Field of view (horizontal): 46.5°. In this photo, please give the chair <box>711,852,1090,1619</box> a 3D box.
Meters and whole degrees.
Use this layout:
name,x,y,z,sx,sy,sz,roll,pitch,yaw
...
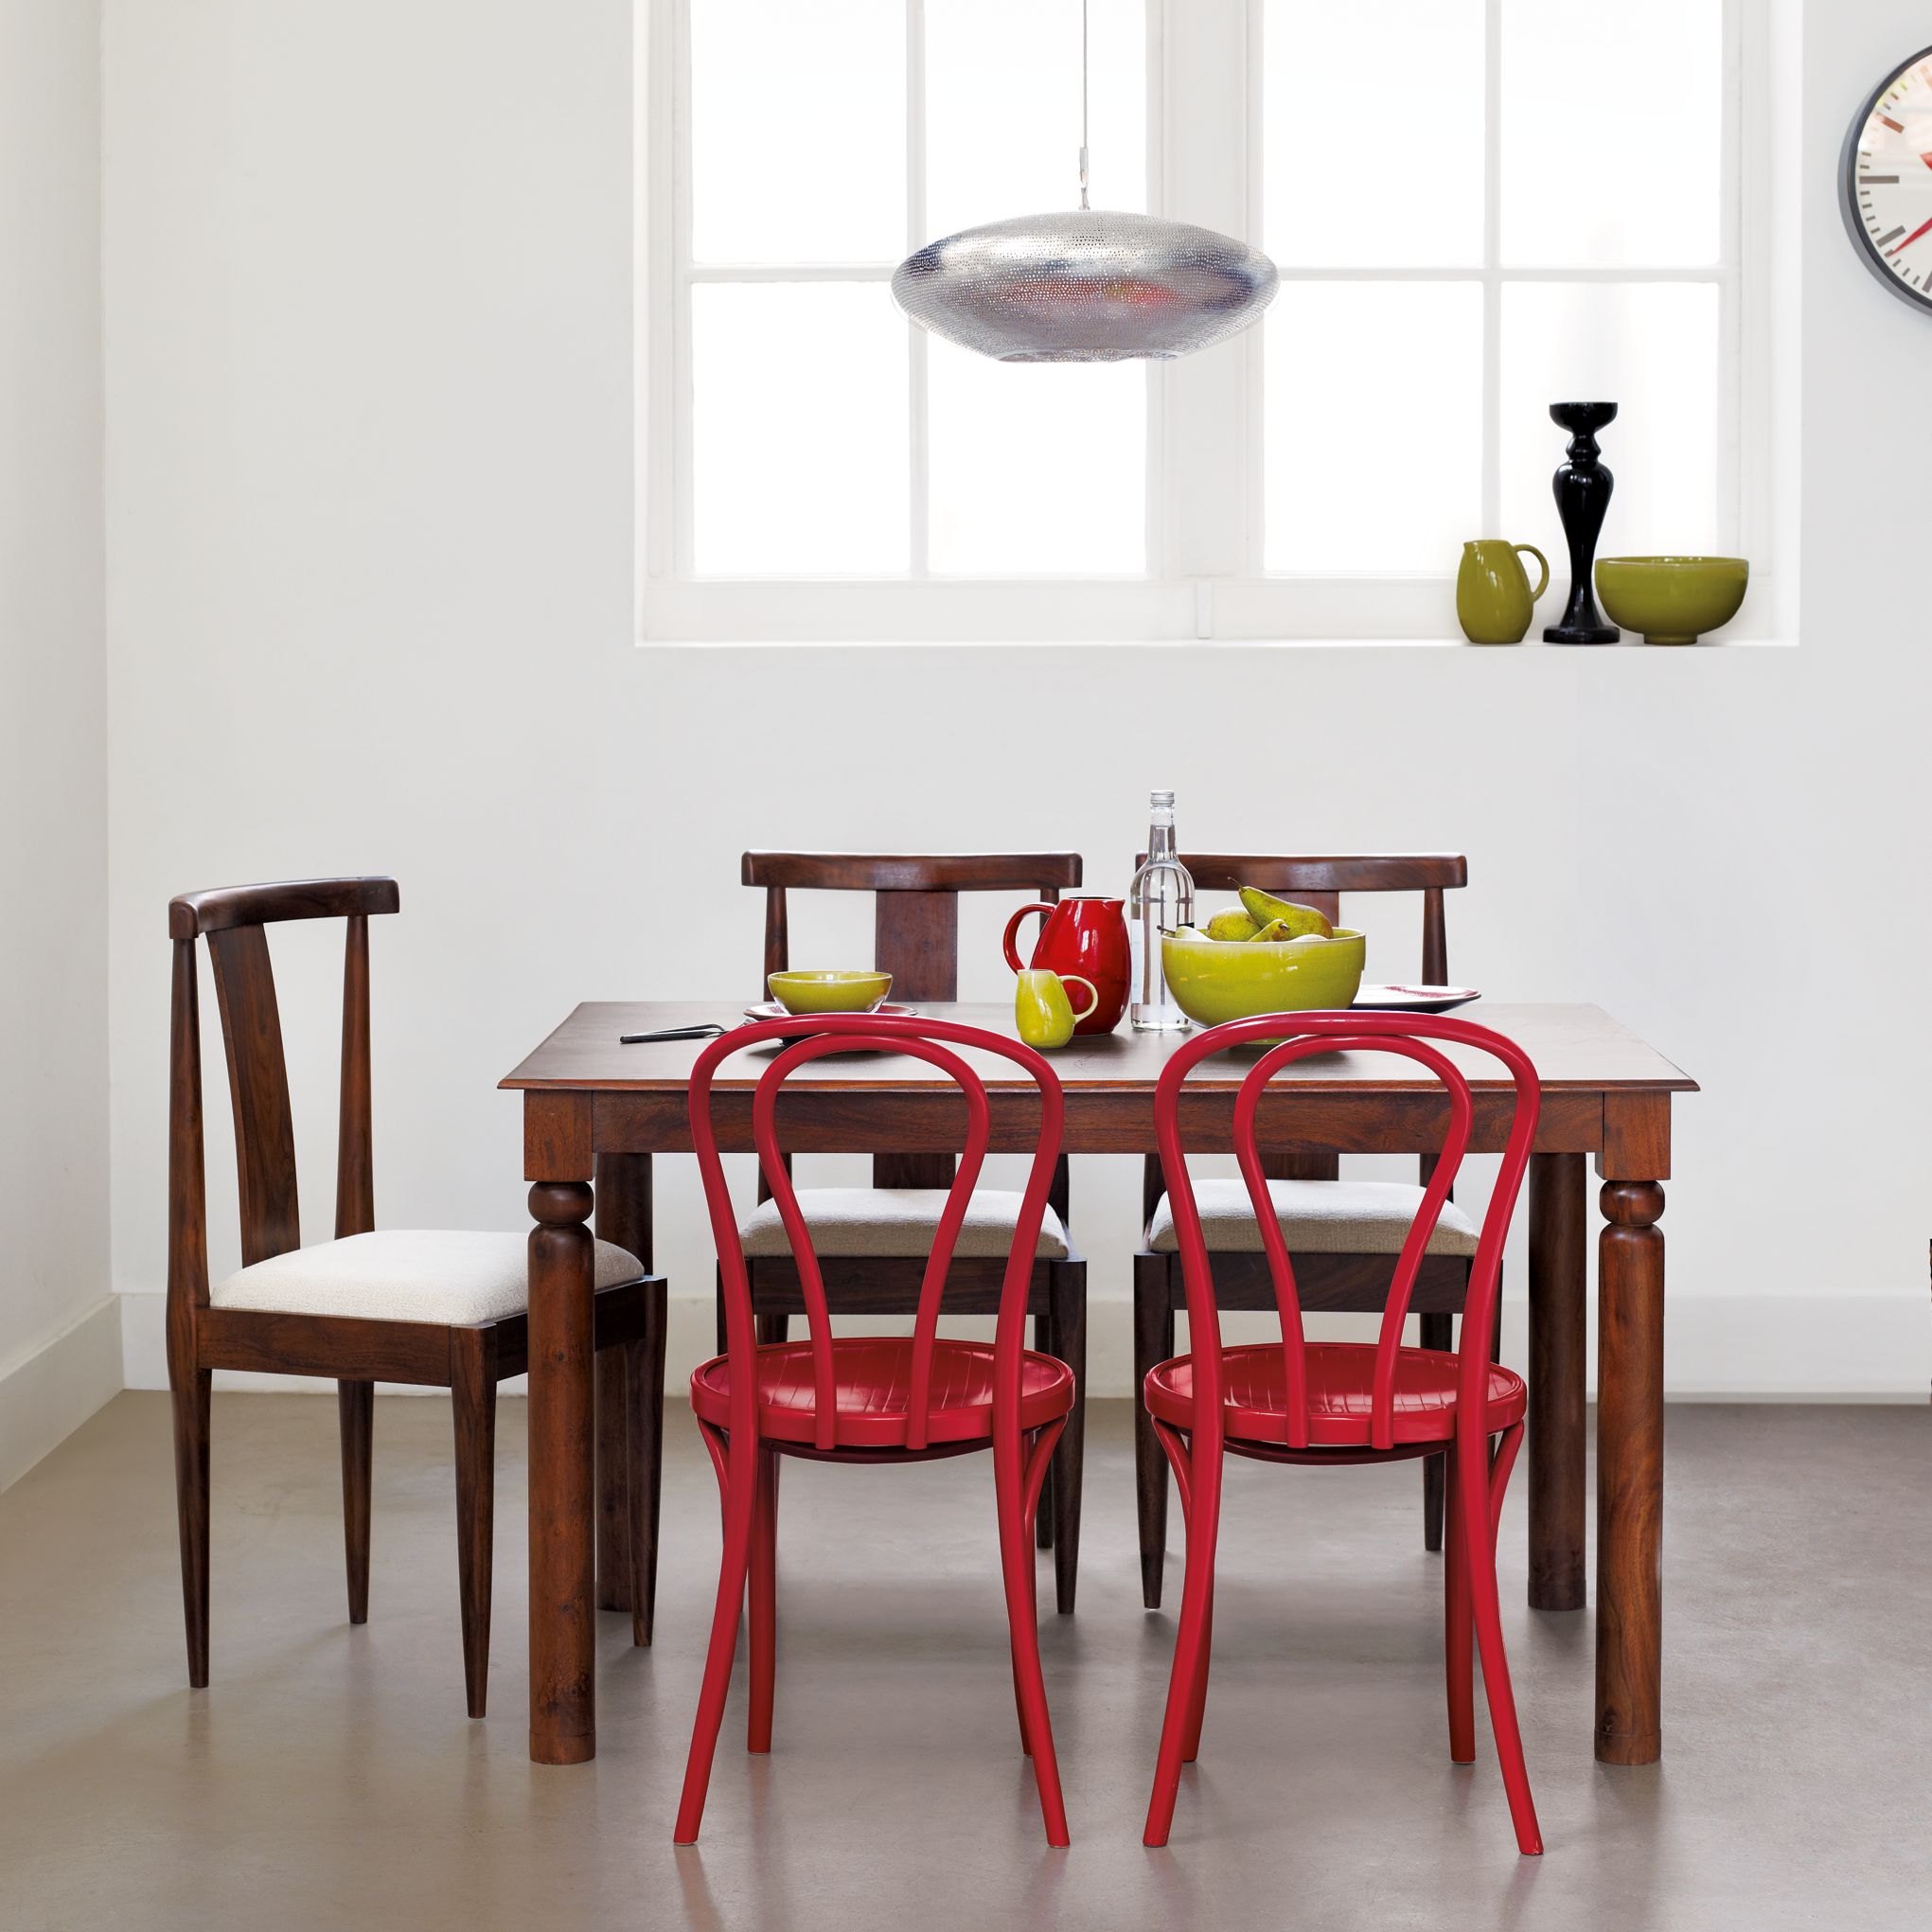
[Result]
name,x,y,z,sx,sy,sz,roll,pitch,yaw
chair,-0.073,0.306,3.093,0.486,1.073,0.657,2,-6,-8

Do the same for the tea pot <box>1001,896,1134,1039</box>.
name,x,y,z,sx,sy,sz,roll,pitch,yaw
tea pot,0.113,0.007,2.625,0.144,0.175,0.098,1,-9,12

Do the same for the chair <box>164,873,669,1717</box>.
name,x,y,z,sx,sy,sz,roll,pitch,yaw
chair,-0.669,0.364,2.673,0.478,0.933,0.496,1,3,28

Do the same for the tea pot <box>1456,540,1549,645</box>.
name,x,y,z,sx,sy,sz,roll,pitch,yaw
tea pot,0.904,-0.636,3.853,0.169,0.198,0.141,1,2,10

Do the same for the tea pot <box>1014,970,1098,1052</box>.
name,x,y,z,sx,sy,sz,roll,pitch,yaw
tea pot,0.104,0.049,2.531,0.092,0.099,0.065,1,0,5

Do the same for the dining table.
name,x,y,z,sx,sy,sz,roll,pitch,yaw
dining table,0.175,0.492,2.703,1.196,0.929,0.794,1,6,9

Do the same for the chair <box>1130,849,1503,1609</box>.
name,x,y,z,sx,sy,sz,roll,pitch,yaw
chair,0.462,0.315,3.049,0.466,1.048,0.596,1,-3,-2

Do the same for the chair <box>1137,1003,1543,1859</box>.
name,x,y,z,sx,sy,sz,roll,pitch,yaw
chair,0.372,0.454,2.319,0.380,0.887,0.416,-1,5,-5

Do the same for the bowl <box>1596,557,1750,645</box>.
name,x,y,z,sx,sy,sz,roll,pitch,yaw
bowl,1.179,-0.611,3.774,0.237,0.140,0.156,2,6,25

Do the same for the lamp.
name,x,y,z,sx,sy,sz,roll,pitch,yaw
lamp,0.134,-0.835,2.519,0.263,0.410,0.286,0,2,-17

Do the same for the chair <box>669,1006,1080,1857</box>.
name,x,y,z,sx,sy,sz,roll,pitch,yaw
chair,-0.097,0.426,2.378,0.422,0.813,0.696,0,5,0
